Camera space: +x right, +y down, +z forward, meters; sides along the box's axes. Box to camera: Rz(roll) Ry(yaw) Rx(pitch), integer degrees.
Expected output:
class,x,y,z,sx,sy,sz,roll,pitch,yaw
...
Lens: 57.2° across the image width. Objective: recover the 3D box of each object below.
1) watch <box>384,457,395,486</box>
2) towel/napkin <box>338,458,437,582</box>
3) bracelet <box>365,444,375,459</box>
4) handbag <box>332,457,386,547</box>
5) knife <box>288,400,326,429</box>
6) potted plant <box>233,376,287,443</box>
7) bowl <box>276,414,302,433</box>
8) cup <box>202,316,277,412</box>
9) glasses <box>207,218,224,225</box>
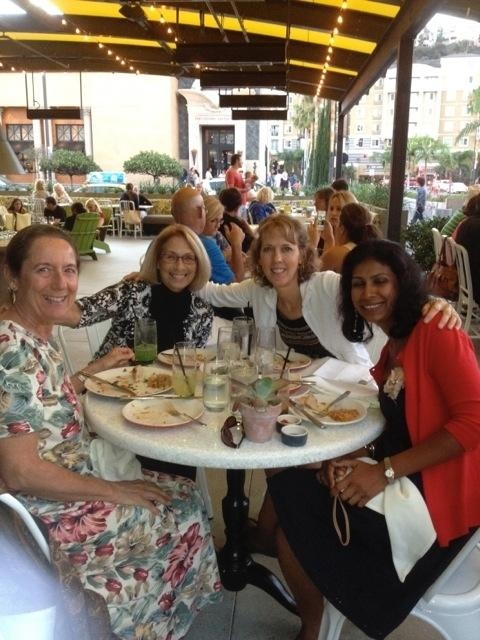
class,x,y,z,sx,sy,sz,roll,pitch,yaw
watch,0.364,0.371,1.079,0.035,0.054,0.053,-13,-4,17
towel/napkin,0.334,0.450,1.027,0.100,0.143,0.197,33,29,-36
bracelet,0.423,0.423,1.429,0.036,0.048,0.052,-1,4,9
handbag,0.290,0.450,1.111,0.137,0.178,0.069,0,-7,8
knife,0.174,0.247,1.212,0.030,0.019,0.207,-4,13,-18
potted plant,0.067,0.195,1.054,0.132,0.167,0.155,3,7,21
bowl,0.121,0.259,1.120,0.039,0.025,0.041,2,8,0
cup,0.009,0.113,1.347,0.233,0.324,0.211,-1,-2,-2
glasses,-0.234,-0.855,3.773,0.090,0.028,0.088,-21,41,-36
